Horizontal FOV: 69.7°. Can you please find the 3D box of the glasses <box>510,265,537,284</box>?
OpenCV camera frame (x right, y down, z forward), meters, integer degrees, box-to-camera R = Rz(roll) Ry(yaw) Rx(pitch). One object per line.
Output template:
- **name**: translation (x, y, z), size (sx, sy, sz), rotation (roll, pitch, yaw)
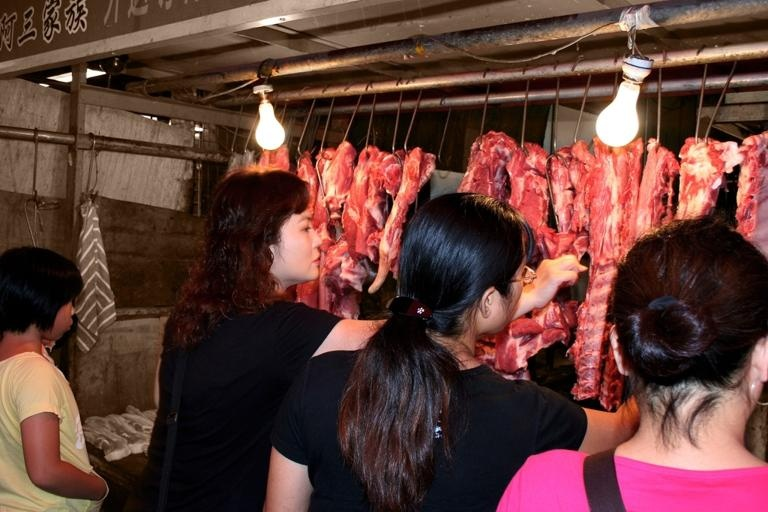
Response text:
- **glasses**: translation (0.570, 0.082, 2.246), size (0.020, 0.068, 0.067), rotation (50, 0, -2)
